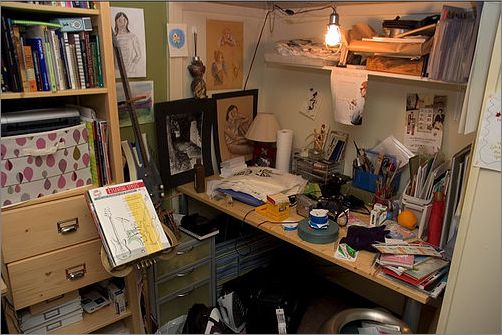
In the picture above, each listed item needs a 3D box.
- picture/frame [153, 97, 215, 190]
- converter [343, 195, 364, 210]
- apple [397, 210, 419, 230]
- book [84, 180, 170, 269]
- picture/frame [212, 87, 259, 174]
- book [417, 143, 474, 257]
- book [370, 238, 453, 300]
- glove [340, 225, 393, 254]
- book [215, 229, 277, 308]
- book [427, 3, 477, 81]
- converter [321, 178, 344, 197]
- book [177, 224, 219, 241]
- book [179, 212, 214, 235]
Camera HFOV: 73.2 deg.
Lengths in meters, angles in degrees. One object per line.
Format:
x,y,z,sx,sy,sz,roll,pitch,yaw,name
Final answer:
-0.571,-0.203,2.757,0.633,0.739,0.053,-19,27,-40,picture/frame
0.781,0.263,2.623,0.104,0.046,0.140,-10,29,-27,converter
1.085,0.369,2.344,0.124,0.122,0.082,13,22,30,apple
-0.697,0.311,1.925,0.377,0.376,0.262,-10,22,-30,book
-0.162,-0.333,3.071,0.669,0.909,0.038,-14,19,-37,picture/frame
1.242,0.170,2.156,0.174,0.645,0.490,12,22,27,book
0.969,0.563,2.045,0.400,0.152,0.373,14,23,33,book
0.741,0.466,2.201,0.187,0.052,0.197,4,27,25,glove
-0.045,0.768,2.957,0.542,0.406,0.142,-14,21,-33,book
1.218,-0.718,2.052,0.321,0.432,0.142,14,14,26,book
0.637,0.165,2.671,0.121,0.165,0.049,10,-24,22,converter
-0.419,0.517,2.642,0.146,0.020,0.133,-9,29,-44,book
-0.418,0.451,2.695,0.165,0.038,0.162,-3,14,-38,book
